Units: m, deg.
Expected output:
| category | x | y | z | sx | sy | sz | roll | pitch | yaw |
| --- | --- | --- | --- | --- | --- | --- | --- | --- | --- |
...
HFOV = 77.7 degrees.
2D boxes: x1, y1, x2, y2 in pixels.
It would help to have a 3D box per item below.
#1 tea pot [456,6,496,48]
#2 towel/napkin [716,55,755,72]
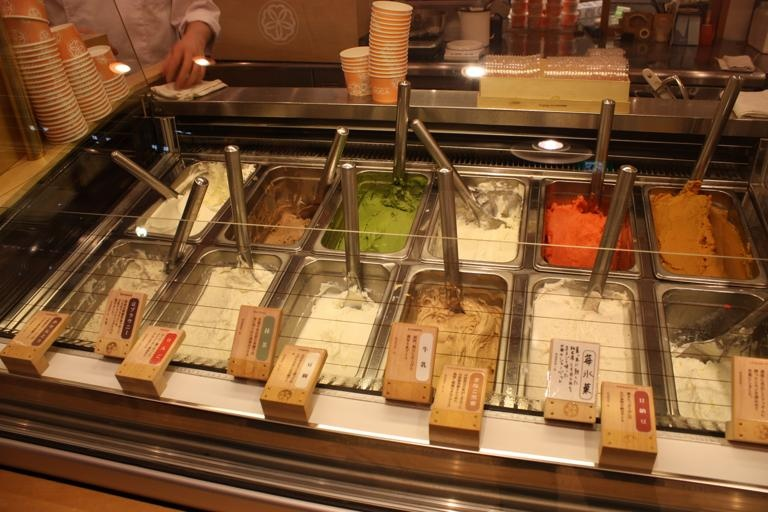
| category | x | y | z | sx | sy | sz | roll | pitch | yaw |
| --- | --- | --- | --- | --- | --- | --- | --- | --- | --- |
| tea pot | 0.760 | -1.904 | 3.962 | 0.395 | 0.369 | 0.313 | 2 | 28 | 9 |
| towel/napkin | 2.524 | -1.375 | 3.463 | 0.225 | 0.059 | 0.215 | 9 | 38 | 11 |
